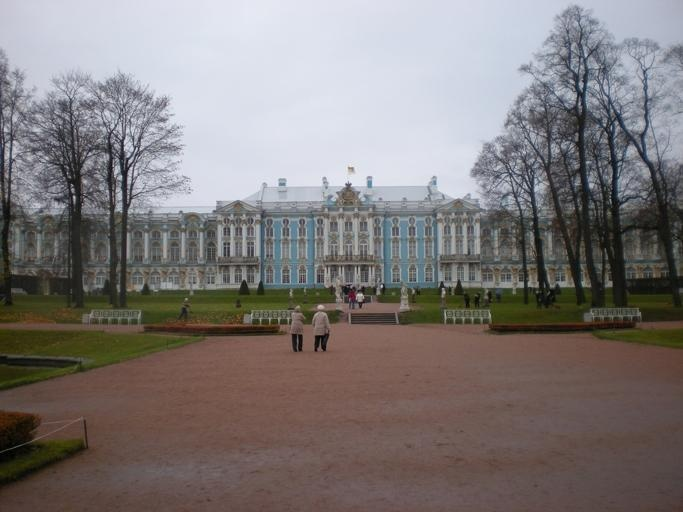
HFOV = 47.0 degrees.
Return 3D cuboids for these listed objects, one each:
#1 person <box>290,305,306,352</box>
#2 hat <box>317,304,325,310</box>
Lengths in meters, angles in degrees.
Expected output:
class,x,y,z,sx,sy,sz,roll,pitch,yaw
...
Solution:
class,x,y,z,sx,sy,sz,roll,pitch,yaw
person,-1.588,2.752,28.836,0.421,1.261,0.496,-2,1,-7
hat,-0.773,1.950,29.224,0.392,0.192,0.558,0,-4,-1
